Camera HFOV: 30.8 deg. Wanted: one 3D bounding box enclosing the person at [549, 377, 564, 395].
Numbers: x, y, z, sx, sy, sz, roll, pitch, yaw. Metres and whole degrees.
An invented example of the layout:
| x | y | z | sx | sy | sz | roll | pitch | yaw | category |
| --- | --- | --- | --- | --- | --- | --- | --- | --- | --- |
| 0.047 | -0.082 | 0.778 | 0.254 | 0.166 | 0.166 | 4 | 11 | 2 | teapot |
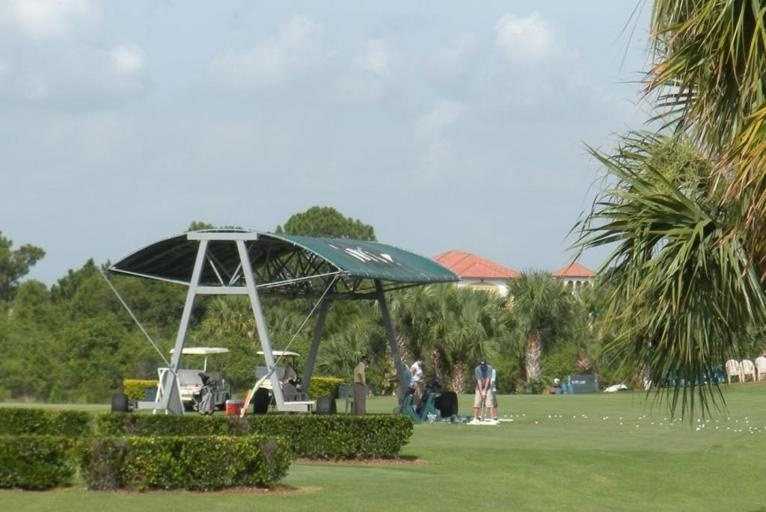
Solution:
| x | y | z | sx | sy | sz | roll | pitch | yaw | category |
| --- | --- | --- | --- | --- | --- | --- | --- | --- | --- |
| 8.817 | 6.534 | 69.139 | 0.609 | 0.805 | 0.823 | -1 | 5 | -9 | person |

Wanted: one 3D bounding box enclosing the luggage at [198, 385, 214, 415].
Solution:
| x | y | z | sx | sy | sz | roll | pitch | yaw | category |
| --- | --- | --- | --- | --- | --- | --- | --- | --- | --- |
| -5.884 | 4.761 | 46.001 | 0.460 | 0.873 | 0.273 | -8 | -16 | 42 | luggage |

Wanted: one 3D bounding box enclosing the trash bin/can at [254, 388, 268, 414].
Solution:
| x | y | z | sx | sy | sz | roll | pitch | yaw | category |
| --- | --- | --- | --- | --- | --- | --- | --- | --- | --- |
| -3.813 | 4.435 | 42.911 | 0.443 | 0.892 | 0.876 | 2 | -14 | -7 | trash bin/can |
